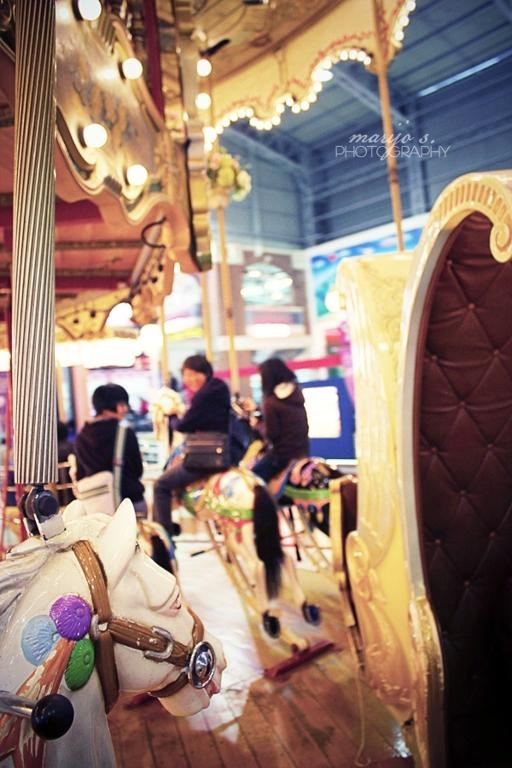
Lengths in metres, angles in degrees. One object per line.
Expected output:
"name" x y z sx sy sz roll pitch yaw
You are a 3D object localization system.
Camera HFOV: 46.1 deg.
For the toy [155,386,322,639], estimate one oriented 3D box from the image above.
"toy" -0.031 0.570 3.340 0.336 0.947 1.453 -38 29 7
